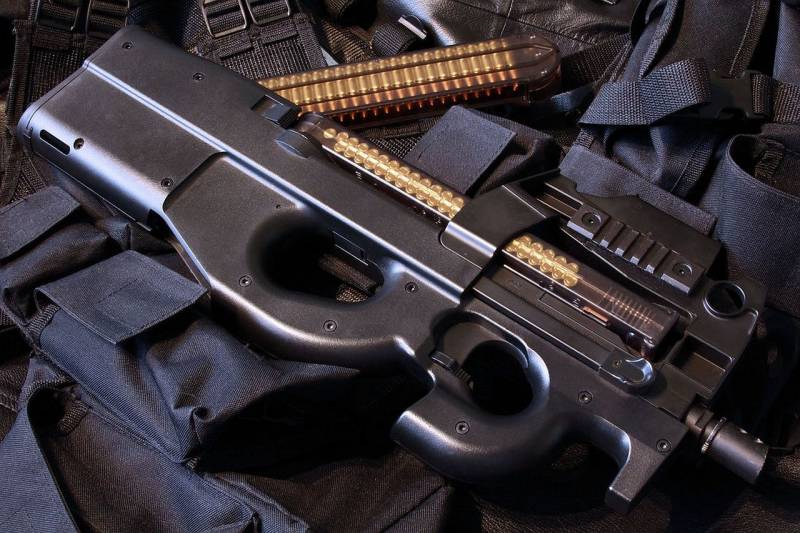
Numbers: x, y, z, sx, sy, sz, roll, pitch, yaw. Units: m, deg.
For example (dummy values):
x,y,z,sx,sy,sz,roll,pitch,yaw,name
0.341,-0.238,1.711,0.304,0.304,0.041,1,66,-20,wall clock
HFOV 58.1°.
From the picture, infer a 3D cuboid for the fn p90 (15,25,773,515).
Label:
x,y,z,sx,sy,sz,roll,pitch,yaw,name
-0.022,-0.014,1.613,1.734,0.256,0.859,25,48,9,fn p90
